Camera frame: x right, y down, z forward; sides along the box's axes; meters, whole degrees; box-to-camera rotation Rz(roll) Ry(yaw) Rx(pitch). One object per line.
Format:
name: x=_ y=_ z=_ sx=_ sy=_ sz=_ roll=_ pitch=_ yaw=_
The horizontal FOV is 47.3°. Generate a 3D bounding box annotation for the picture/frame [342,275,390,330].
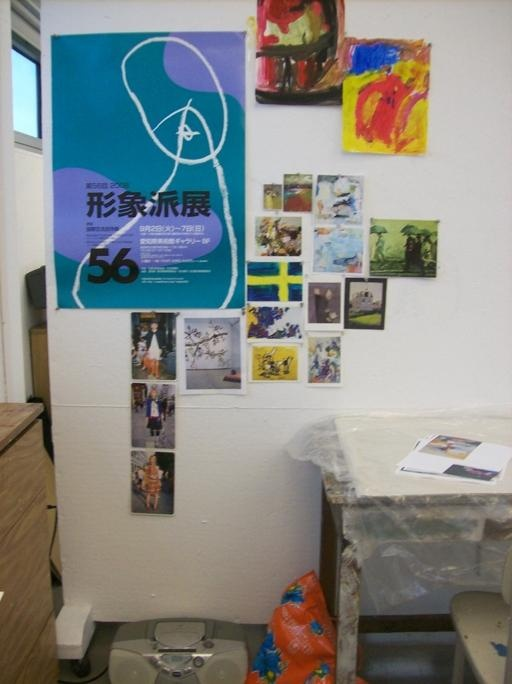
picture/frame: x=0.351 y=-0.134 z=1.873 sx=0.166 sy=0.194 sz=0.009 roll=0 pitch=6 yaw=-2
